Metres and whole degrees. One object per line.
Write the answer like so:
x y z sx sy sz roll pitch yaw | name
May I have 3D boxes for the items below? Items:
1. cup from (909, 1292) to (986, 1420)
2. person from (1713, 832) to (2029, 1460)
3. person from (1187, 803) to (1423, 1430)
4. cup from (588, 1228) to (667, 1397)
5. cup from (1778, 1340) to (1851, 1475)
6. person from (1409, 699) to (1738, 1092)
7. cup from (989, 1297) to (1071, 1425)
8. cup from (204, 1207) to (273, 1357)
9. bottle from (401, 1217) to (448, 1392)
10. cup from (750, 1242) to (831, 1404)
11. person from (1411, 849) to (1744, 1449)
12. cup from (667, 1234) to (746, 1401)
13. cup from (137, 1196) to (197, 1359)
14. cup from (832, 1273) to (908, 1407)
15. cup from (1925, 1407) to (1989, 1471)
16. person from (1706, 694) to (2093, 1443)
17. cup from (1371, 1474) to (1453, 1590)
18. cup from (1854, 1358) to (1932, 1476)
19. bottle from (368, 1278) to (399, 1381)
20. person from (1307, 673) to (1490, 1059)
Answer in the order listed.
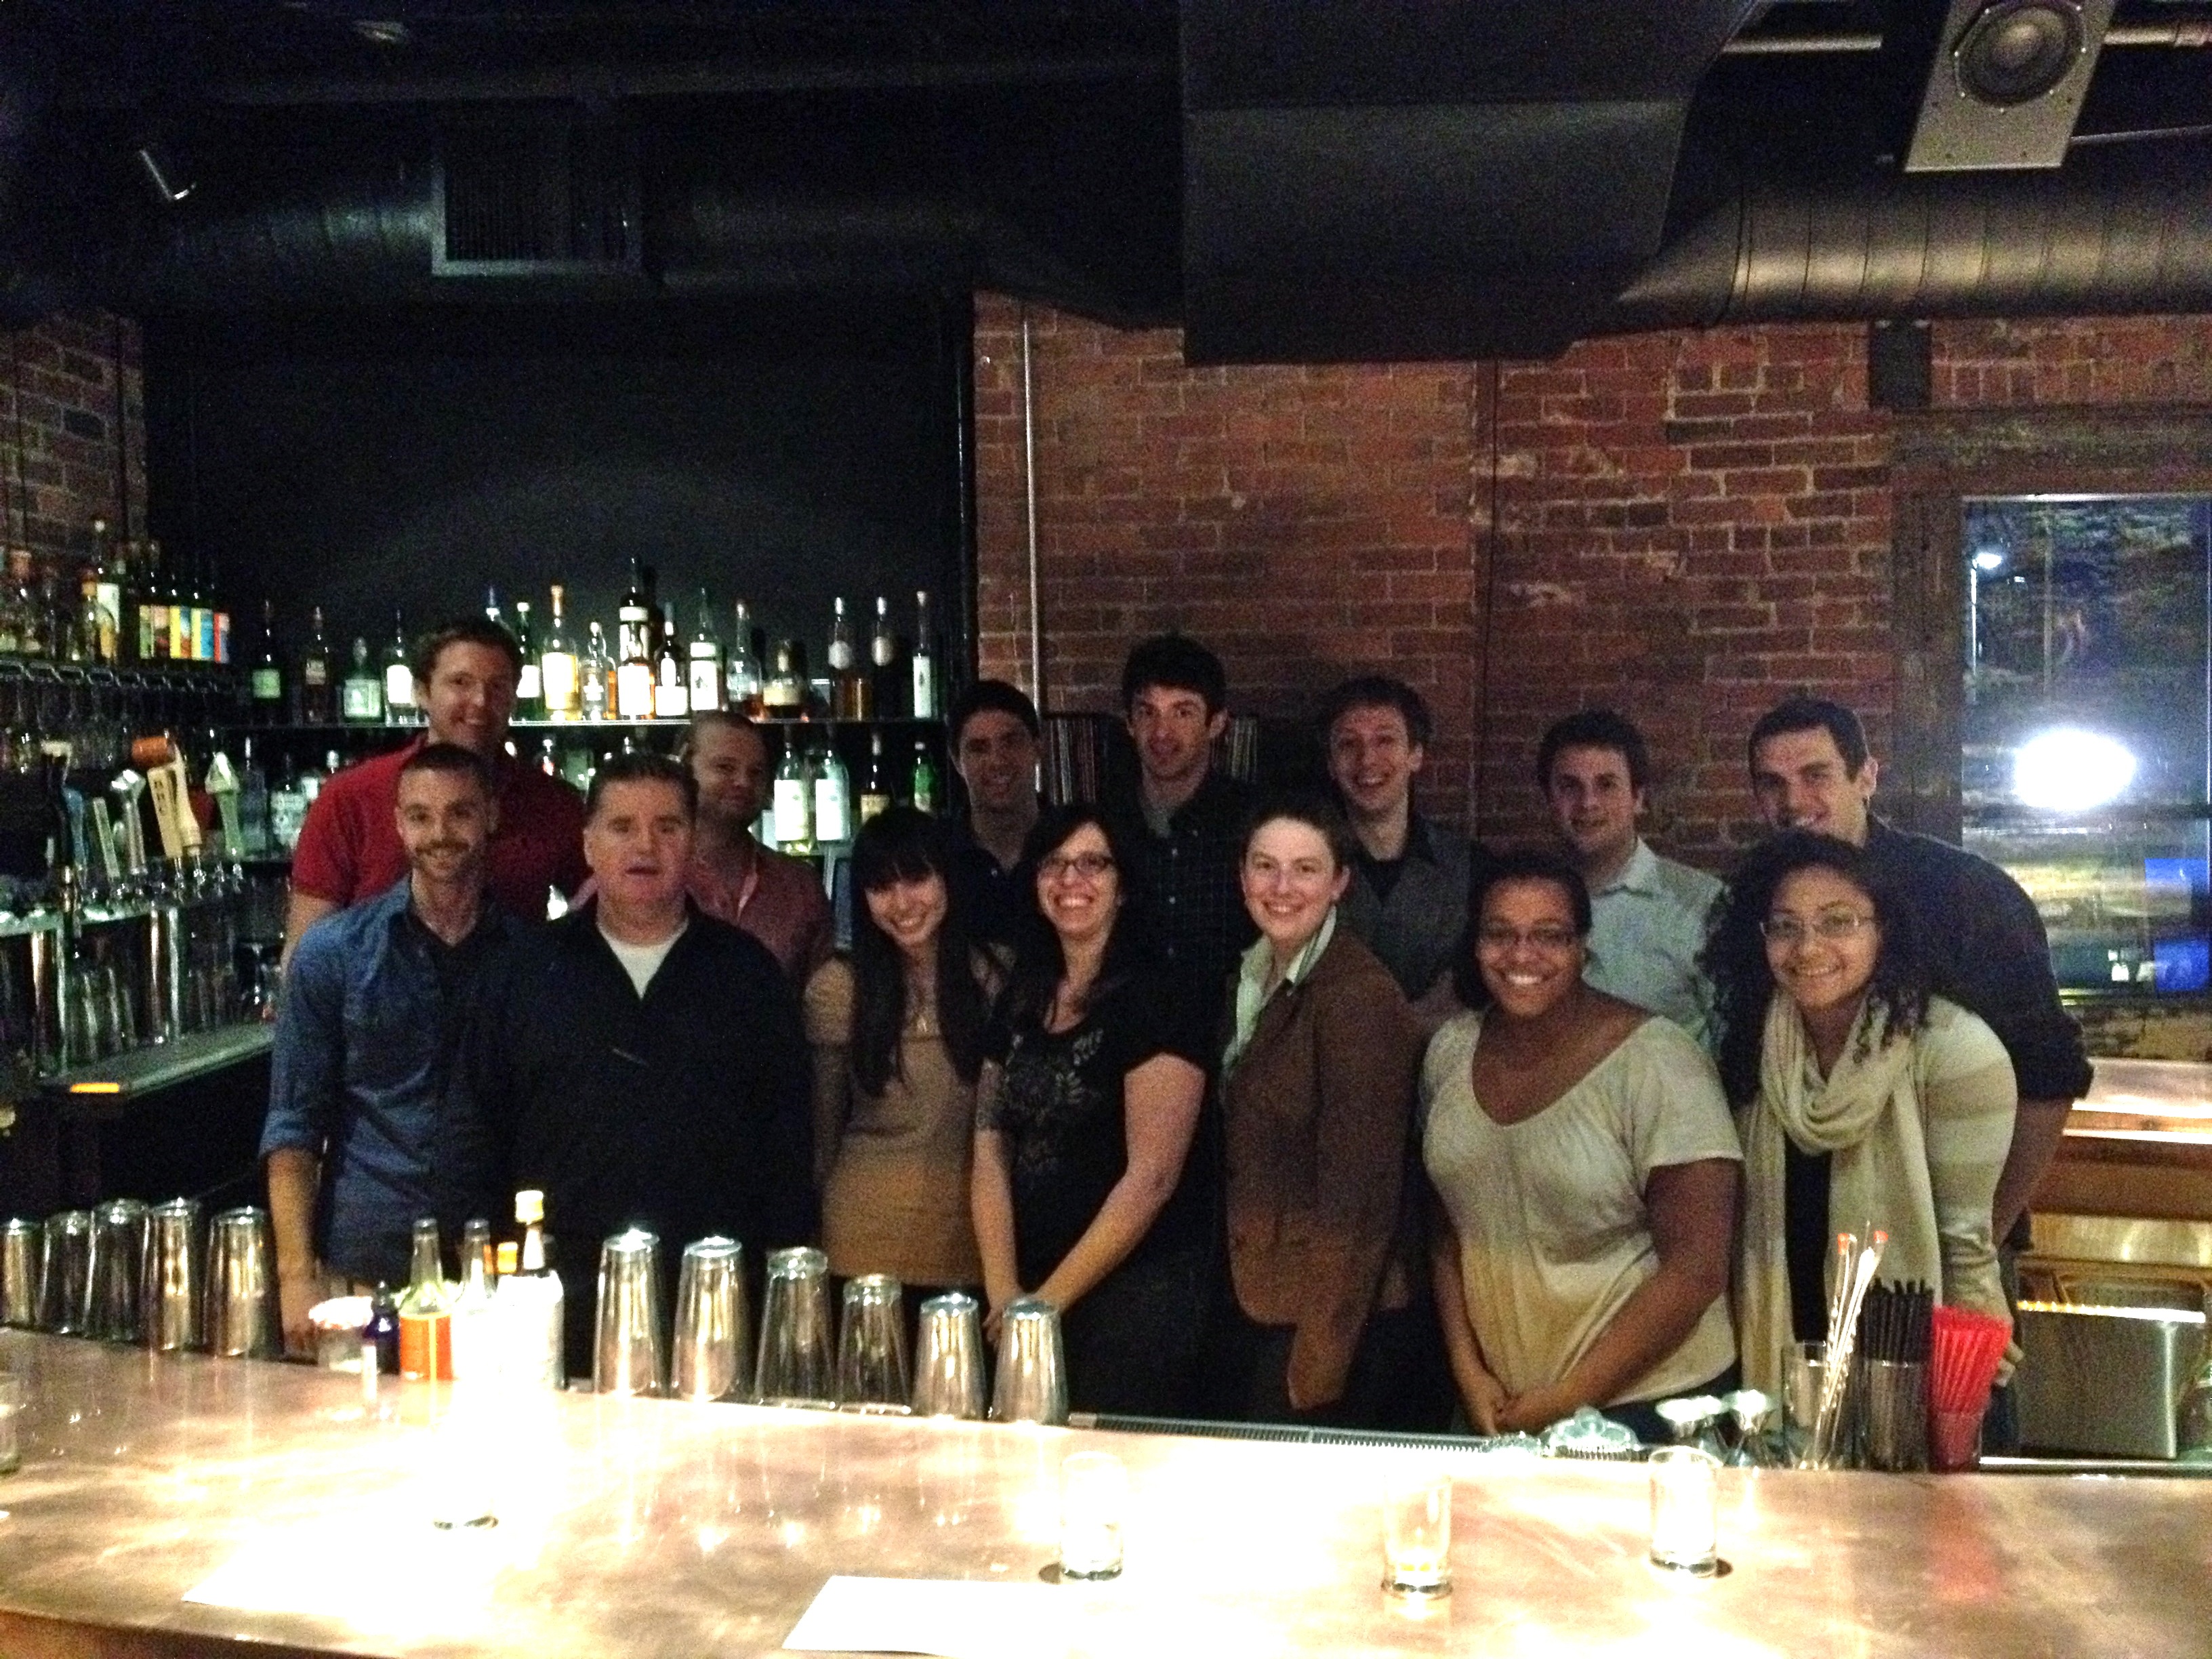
-0.267 0.866 3.391 0.114 0.203 0.106 -1 -1 0 | cup
1.456 0.541 4.010 0.565 1.080 0.342 -1 -1 15 | person
0.416 0.553 4.160 0.389 1.244 0.256 -1 -1 2 | person
-0.820 0.824 3.511 0.116 0.271 0.119 -1 -1 0 | cup
1.115 0.943 3.353 0.126 0.196 0.127 -3 -9 -1 | cup
1.159 0.211 4.983 0.739 0.938 0.446 -2 -11 5 | person
-0.145 0.868 3.383 0.142 0.202 0.115 -1 -2 22 | cup
-1.542 0.804 3.651 0.103 0.253 0.072 0 -1 -13 | cup
-1.195 0.813 3.584 0.072 0.277 0.187 0 -2 -29 | bottle
-0.542 0.834 3.479 0.145 0.256 0.133 -1 -1 0 | cup
0.925 0.609 4.086 0.625 1.144 0.270 -1 -1 9 | person
-0.668 0.823 3.480 0.133 0.273 0.161 0 -2 -18 | cup
-1.684 0.800 3.699 0.092 0.252 0.160 0 -2 -25 | cup
-0.403 0.846 3.444 0.134 0.215 0.142 -1 -1 0 | cup
1.345 0.983 3.323 0.092 0.101 0.096 1 -8 0 | cup
1.804 0.530 4.687 0.639 1.659 0.500 7 23 43 | person
0.451 1.009 2.961 0.076 0.155 0.121 -2 -2 35 | cup
1.232 0.929 3.307 0.116 0.184 0.116 2 7 0 | cup
-1.275 0.886 3.624 0.053 0.121 0.143 0 -2 -18 | bottle
0.663 0.144 4.938 0.549 1.035 0.531 -2 -10 -1 | person
